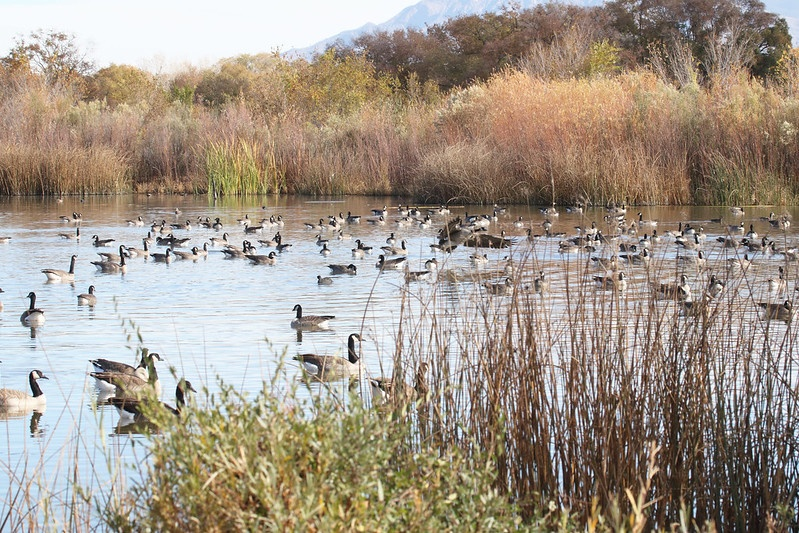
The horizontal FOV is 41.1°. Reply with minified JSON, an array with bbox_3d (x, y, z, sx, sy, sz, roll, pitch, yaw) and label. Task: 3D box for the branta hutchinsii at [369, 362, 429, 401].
[{"bbox_3d":[-0.040,1.220,11.422,0.667,0.257,0.578,-3,35,30],"label":"branta hutchinsii"}]
